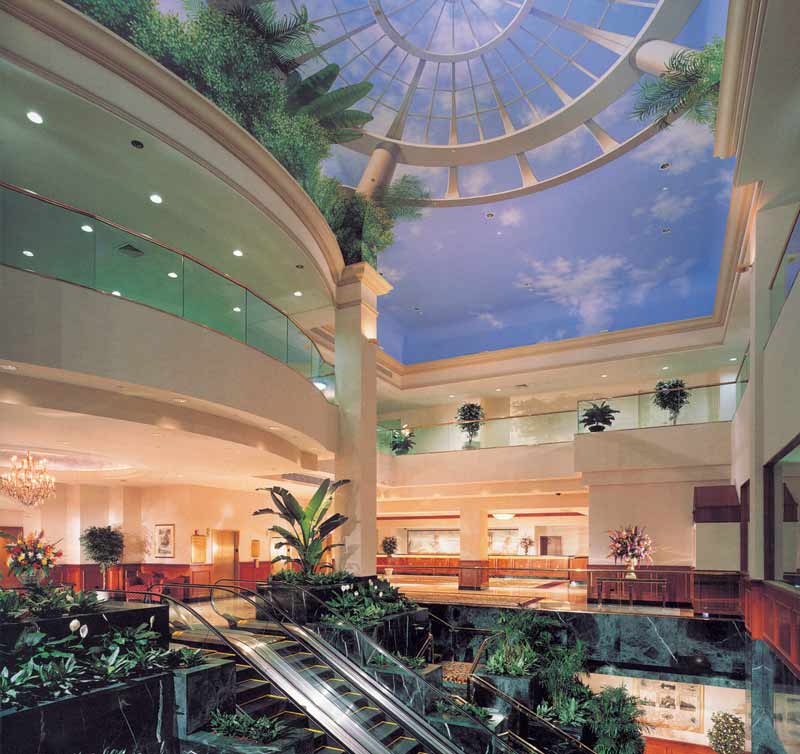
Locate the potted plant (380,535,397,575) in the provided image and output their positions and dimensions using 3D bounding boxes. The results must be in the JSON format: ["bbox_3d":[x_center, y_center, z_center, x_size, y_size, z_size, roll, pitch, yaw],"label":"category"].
[{"bbox_3d":[-0.484,8.000,28.117,0.716,1.651,1.258,0,-15,-2],"label":"potted plant"}]

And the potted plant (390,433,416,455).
[{"bbox_3d":[0.111,2.254,21.010,0.678,0.626,0.686,-4,-14,24],"label":"potted plant"}]

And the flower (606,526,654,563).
[{"bbox_3d":[5.957,4.205,15.870,0.946,0.972,0.921,-1,4,18],"label":"flower"}]

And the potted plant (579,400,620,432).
[{"bbox_3d":[5.623,1.103,17.534,0.812,0.823,0.854,6,-6,8],"label":"potted plant"}]

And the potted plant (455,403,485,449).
[{"bbox_3d":[2.375,1.659,20.871,1.008,1.620,0.901,-5,-19,25],"label":"potted plant"}]

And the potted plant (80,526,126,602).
[{"bbox_3d":[-8.292,4.960,17.209,1.046,1.714,1.115,5,-16,-17],"label":"potted plant"}]
